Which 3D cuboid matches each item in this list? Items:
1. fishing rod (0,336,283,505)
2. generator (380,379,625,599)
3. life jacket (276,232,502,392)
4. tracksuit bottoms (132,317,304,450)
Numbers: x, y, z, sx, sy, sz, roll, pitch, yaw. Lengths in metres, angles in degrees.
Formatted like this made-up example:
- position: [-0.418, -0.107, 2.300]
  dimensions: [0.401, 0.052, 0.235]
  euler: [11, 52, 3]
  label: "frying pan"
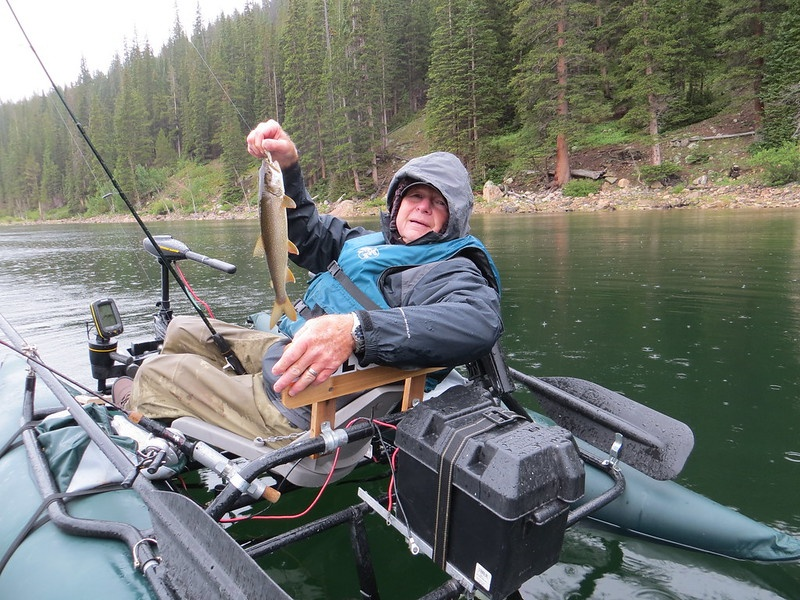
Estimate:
- position: [-1.525, 0.744, 3.460]
  dimensions: [2.583, 0.192, 0.125]
  euler: [25, 66, 18]
  label: "fishing rod"
- position: [0.368, 0.826, 2.536]
  dimensions: [0.766, 0.707, 0.471]
  euler: [6, 17, 38]
  label: "generator"
- position: [0.018, 0.139, 3.225]
  dimensions: [0.952, 0.356, 0.915]
  euler: [-3, 29, 4]
  label: "life jacket"
- position: [-1.181, 0.522, 3.592]
  dimensions: [1.121, 0.327, 0.658]
  euler: [18, 26, -3]
  label: "tracksuit bottoms"
